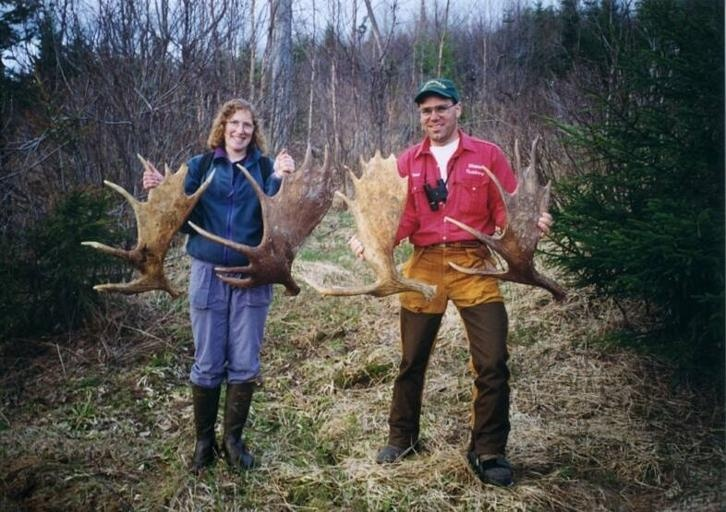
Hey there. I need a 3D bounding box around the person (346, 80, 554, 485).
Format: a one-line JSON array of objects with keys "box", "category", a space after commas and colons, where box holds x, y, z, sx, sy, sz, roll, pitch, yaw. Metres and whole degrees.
[{"box": [0.752, 0.365, 5.518, 1.101, 2.746, 1.026, 3, 15, 14], "category": "person"}]

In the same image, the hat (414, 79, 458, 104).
[{"box": [0.626, -1.406, 5.495, 0.362, 0.194, 0.217, -1, 15, 0], "category": "hat"}]

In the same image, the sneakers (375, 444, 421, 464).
[{"box": [0.314, 1.674, 5.594, 0.357, 0.154, 0.144, -2, 1, -17], "category": "sneakers"}]

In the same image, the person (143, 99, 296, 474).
[{"box": [-1.097, 0.227, 5.666, 0.924, 3.080, 0.910, -3, 15, -10], "category": "person"}]

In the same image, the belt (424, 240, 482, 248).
[{"box": [0.779, -0.109, 5.441, 0.415, 0.067, 0.045, 1, 15, 4], "category": "belt"}]
